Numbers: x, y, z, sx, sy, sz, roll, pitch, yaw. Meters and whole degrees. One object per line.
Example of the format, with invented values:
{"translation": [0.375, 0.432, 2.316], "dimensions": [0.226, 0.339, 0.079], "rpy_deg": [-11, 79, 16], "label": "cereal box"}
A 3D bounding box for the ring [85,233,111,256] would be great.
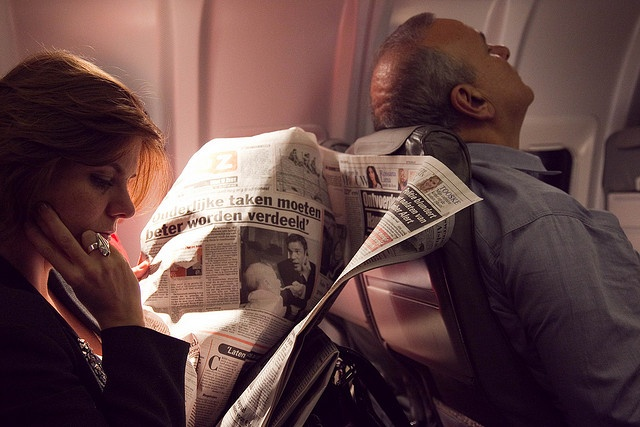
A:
{"translation": [-0.559, 0.078, 1.332], "dimensions": [0.044, 0.059, 0.016], "rpy_deg": [-10, 5, -31], "label": "ring"}

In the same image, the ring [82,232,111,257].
{"translation": [-0.562, 0.081, 1.331], "dimensions": [0.049, 0.066, 0.026], "rpy_deg": [-4, -6, -25], "label": "ring"}
